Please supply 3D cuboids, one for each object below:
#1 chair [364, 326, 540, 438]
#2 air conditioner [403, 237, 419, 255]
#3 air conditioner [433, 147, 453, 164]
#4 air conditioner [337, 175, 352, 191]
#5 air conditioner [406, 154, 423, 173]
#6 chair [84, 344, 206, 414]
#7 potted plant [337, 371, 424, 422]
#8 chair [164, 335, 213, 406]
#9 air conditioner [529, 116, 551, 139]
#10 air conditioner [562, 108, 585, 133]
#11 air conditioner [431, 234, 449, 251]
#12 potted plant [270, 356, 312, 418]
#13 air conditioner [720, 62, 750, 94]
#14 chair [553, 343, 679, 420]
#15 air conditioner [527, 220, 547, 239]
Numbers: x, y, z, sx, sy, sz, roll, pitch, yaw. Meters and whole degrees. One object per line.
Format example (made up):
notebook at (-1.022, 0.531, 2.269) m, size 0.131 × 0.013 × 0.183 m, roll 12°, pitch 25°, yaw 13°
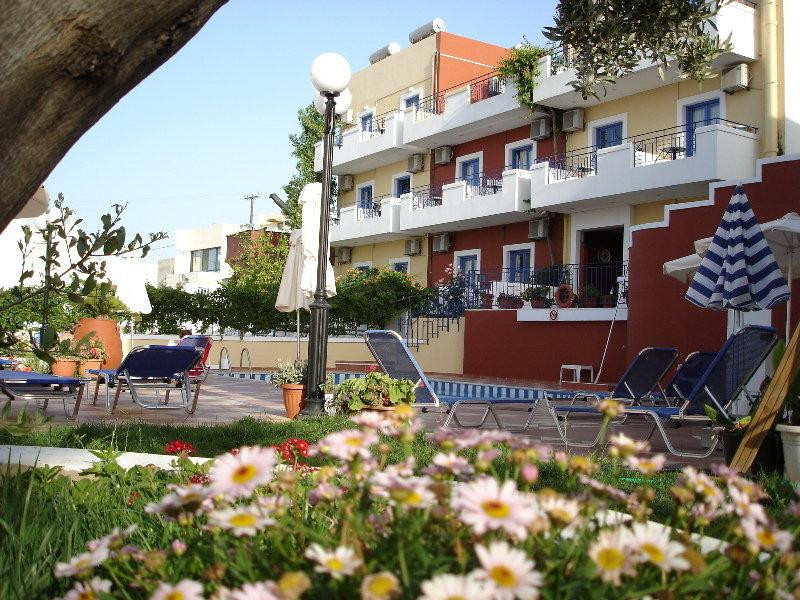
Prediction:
chair at (0.676, 0.812, 7.954) m, size 1.606 × 0.929 × 0.873 m, roll 1°, pitch 3°, yaw -8°
air conditioner at (0.398, -1.853, 25.879) m, size 0.365 × 0.599 × 0.568 m, roll 5°, pitch -3°, yaw -40°
air conditioner at (1.376, -4.811, 25.334) m, size 0.346 × 0.560 × 0.697 m, roll 5°, pitch -3°, yaw -43°
air conditioner at (-2.243, -4.619, 30.097) m, size 0.584 × 0.620 × 0.535 m, roll 11°, pitch 13°, yaw 42°
air conditioner at (0.512, -4.754, 26.435) m, size 0.449 × 0.605 × 0.538 m, roll 5°, pitch -3°, yaw -38°
chair at (-2.872, 0.802, 8.672) m, size 0.968 × 0.692 × 1.805 m, roll 5°, pitch -1°, yaw -30°
potted plant at (-0.327, 0.904, 7.444) m, size 0.532 × 0.474 × 0.925 m, roll 5°, pitch -3°, yaw -44°
chair at (-3.042, 0.899, 10.505) m, size 0.678 × 0.975 × 0.838 m, roll 2°, pitch -12°, yaw 12°
air conditioner at (3.929, -4.817, 21.381) m, size 0.456 × 0.586 × 0.634 m, roll 4°, pitch -2°, yaw -24°
air conditioner at (4.647, -4.896, 20.717) m, size 0.593 × 0.563 × 0.437 m, roll 1°, pitch -3°, yaw 43°
air conditioner at (1.280, -1.873, 24.795) m, size 0.681 × 0.570 × 0.342 m, roll 1°, pitch -3°, yaw 42°
potted plant at (-1.251, 1.018, 8.842) m, size 0.449 × 0.564 × 0.406 m, roll -18°, pitch -20°, yaw 40°
air conditioner at (7.398, -4.914, 16.840) m, size 0.506 × 0.611 × 0.519 m, roll 4°, pitch -2°, yaw -31°
chair at (2.296, 0.907, 8.442) m, size 0.559 × 0.807 × 1.544 m, roll 7°, pitch -15°, yaw -33°
air conditioner at (3.832, -1.989, 21.261) m, size 0.365 × 0.498 × 0.568 m, roll 4°, pitch -2°, yaw -26°
